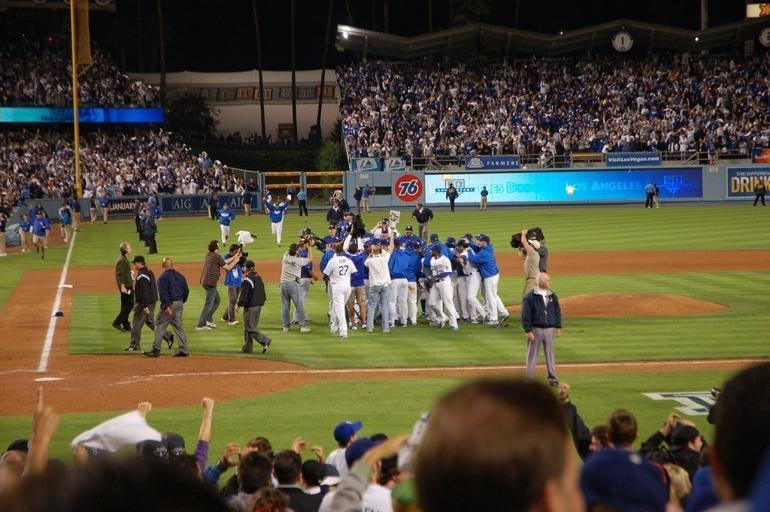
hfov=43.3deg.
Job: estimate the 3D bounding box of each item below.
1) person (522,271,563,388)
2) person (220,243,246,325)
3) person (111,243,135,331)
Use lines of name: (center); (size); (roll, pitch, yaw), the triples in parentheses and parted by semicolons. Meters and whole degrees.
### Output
person: (5.335, 2.566, 33.162); (1.442, 3.809, 0.874); (1, 4, -3)
person: (-6.175, 1.186, 39.413); (1.148, 3.122, 1.237); (2, -1, 0)
person: (-10.581, 1.286, 38.330); (0.986, 3.388, 1.215); (2, -2, 7)
